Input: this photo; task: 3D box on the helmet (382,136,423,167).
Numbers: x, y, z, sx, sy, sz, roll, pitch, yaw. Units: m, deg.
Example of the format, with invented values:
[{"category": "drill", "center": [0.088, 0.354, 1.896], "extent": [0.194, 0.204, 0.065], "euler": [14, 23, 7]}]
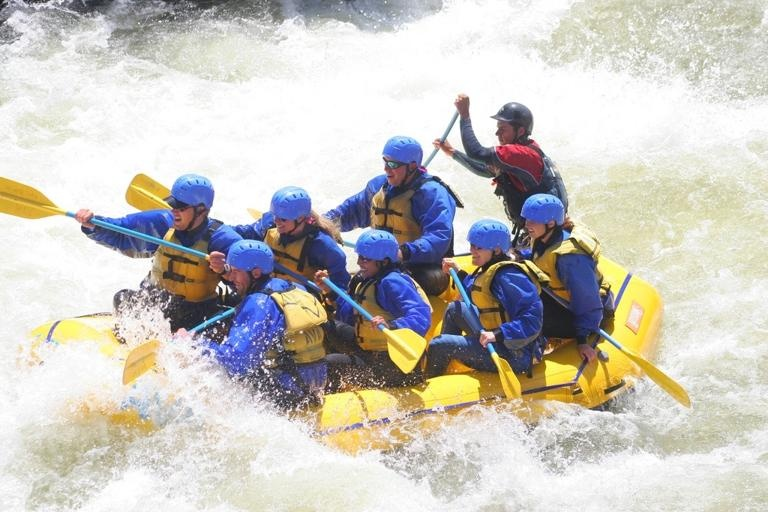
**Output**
[{"category": "helmet", "center": [0.213, -1.200, 9.809], "extent": [0.315, 0.403, 0.297], "euler": [-59, 28, -12]}]

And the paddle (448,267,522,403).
[{"category": "paddle", "center": [1.074, 0.875, 8.753], "extent": [0.186, 0.160, 1.649], "euler": [-38, 57, 17]}]

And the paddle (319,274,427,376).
[{"category": "paddle", "center": [0.014, 0.761, 8.855], "extent": [0.376, 0.557, 1.151], "euler": [-39, 63, -12]}]

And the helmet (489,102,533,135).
[{"category": "helmet", "center": [1.615, -1.709, 10.307], "extent": [0.493, 0.348, 0.253], "euler": [23, 97, -14]}]

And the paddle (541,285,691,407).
[{"category": "paddle", "center": [2.494, 1.035, 9.265], "extent": [1.987, 0.161, 0.230], "euler": [39, 115, 18]}]

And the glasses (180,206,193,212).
[{"category": "glasses", "center": [-2.152, -0.509, 9.133], "extent": [0.068, 0.021, 0.067], "euler": [-18, 58, -4]}]

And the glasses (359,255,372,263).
[{"category": "glasses", "center": [-0.212, 0.035, 8.834], "extent": [0.064, 0.080, 0.028], "euler": [12, 48, 26]}]

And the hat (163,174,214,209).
[{"category": "hat", "center": [-2.118, -0.676, 9.141], "extent": [0.480, 0.261, 0.314], "euler": [3, 36, -29]}]

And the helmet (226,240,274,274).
[{"category": "helmet", "center": [-1.381, -0.018, 8.629], "extent": [0.426, 0.265, 0.316], "euler": [-6, 20, -23]}]

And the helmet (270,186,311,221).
[{"category": "helmet", "center": [-1.001, -0.575, 9.201], "extent": [0.322, 0.427, 0.321], "euler": [45, 116, 42]}]

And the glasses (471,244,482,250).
[{"category": "glasses", "center": [0.953, -0.088, 8.778], "extent": [0.129, 0.080, 0.057], "euler": [0, 79, 32]}]
